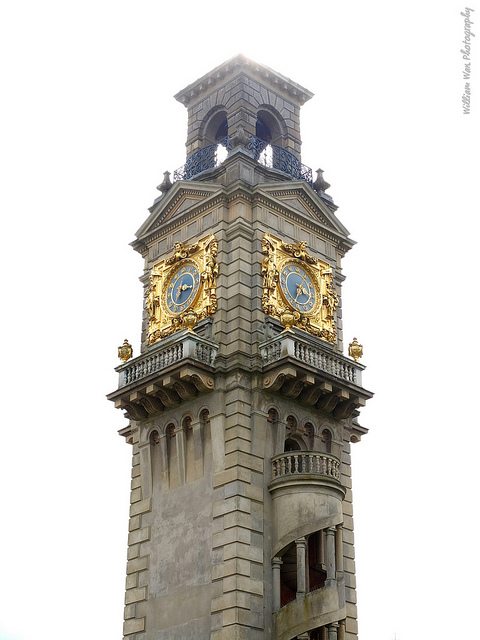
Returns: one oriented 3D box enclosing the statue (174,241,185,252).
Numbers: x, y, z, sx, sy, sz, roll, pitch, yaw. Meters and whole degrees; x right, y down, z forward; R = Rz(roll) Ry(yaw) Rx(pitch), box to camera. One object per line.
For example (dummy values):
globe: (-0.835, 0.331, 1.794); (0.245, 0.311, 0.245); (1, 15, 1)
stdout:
statue: (-2.345, -2.682, 56.847); (0.371, 0.453, 0.159); (-4, -15, 9)

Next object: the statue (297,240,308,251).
statue: (2.103, -2.719, 56.651); (0.326, 0.327, 0.125); (17, -29, -40)

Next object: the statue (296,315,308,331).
statue: (2.027, 0.094, 54.858); (0.456, 0.609, 0.299); (6, -6, -32)

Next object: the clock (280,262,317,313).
clock: (1.965, -1.144, 55.738); (0.169, 2.109, 1.794); (-30, -48, 32)
